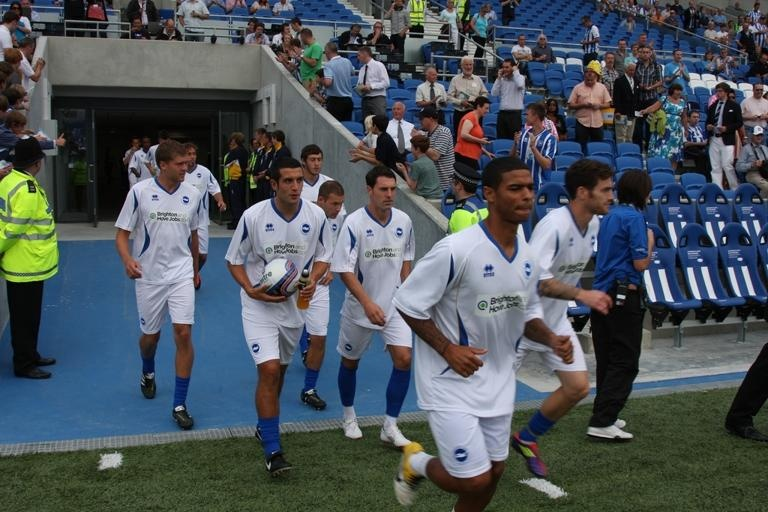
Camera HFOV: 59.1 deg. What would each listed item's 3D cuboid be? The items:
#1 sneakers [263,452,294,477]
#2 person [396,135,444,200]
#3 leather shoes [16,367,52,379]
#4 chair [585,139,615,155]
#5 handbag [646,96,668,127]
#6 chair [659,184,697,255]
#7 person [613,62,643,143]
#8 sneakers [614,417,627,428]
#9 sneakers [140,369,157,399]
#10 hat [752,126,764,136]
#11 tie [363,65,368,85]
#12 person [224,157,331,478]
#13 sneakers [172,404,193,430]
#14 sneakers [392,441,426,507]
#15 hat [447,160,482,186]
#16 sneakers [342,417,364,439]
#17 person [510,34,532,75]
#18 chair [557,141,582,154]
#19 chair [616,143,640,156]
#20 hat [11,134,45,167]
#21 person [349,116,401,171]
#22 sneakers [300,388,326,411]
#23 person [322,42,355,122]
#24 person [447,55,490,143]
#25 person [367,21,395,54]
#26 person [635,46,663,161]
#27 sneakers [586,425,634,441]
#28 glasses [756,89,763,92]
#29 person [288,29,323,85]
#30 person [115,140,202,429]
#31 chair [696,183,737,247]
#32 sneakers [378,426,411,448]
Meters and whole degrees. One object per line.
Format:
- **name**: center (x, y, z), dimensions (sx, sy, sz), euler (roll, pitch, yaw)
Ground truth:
- **sneakers**: center (-0.922, 1.812, 5.928), dimensions (0.129, 0.143, 0.358), euler (-1, -10, -21)
- **person**: center (0.587, -1.376, 10.834), dimensions (0.648, 0.996, 0.569), euler (-7, 15, -10)
- **leather shoes**: center (-4.090, 1.352, 7.884), dimensions (0.342, 0.145, 0.156), euler (1, 1, -4)
- **chair**: center (4.126, -2.007, 12.926), dimensions (0.339, 0.456, 0.374), euler (0, 2, -1)
- **handbag**: center (5.490, -2.835, 13.536), dimensions (0.343, 0.586, 0.345), euler (5, 12, 21)
- **chair**: center (4.610, -0.583, 10.374), dimensions (0.643, 0.967, 0.796), euler (-3, 11, -5)
- **person**: center (4.981, -3.095, 13.901), dimensions (0.556, 1.566, 0.344), euler (1, 11, 3)
- **sneakers**: center (2.407, 1.677, 6.851), dimensions (0.152, 0.062, 0.084), euler (-11, 25, -27)
- **sneakers**: center (-2.627, 1.411, 7.524), dimensions (0.121, 0.140, 0.350), euler (0, 32, -19)
- **hat**: center (7.066, -2.299, 12.695), dimensions (0.230, 0.175, 0.303), euler (4, 8, 14)
- **tie**: center (-0.353, -3.421, 12.948), dimensions (0.086, 0.334, 0.051), euler (0, 11, -5)
- **person**: center (-1.012, 0.484, 6.287), dimensions (0.884, 2.720, 1.270), euler (2, 11, 6)
- **sneakers**: center (-2.058, 1.616, 6.897), dimensions (0.210, 0.194, 0.258), euler (-2, 12, -15)
- **sneakers**: center (0.204, 1.615, 5.194), dimensions (0.181, 0.231, 0.518), euler (9, 39, -18)
- **hat**: center (0.809, -0.811, 6.706), dimensions (0.250, 0.100, 0.212), euler (28, 23, 31)
- **sneakers**: center (-0.318, 1.683, 6.712), dimensions (0.103, 0.110, 0.270), euler (0, 1, -24)
- **person**: center (3.675, -5.128, 17.844), dimensions (0.518, 1.213, 0.689), euler (1, 17, 2)
- **chair**: center (3.527, -2.013, 12.814), dimensions (0.280, 0.375, 0.304), euler (0, 3, -2)
- **chair**: center (4.808, -2.038, 13.271), dimensions (0.296, 0.367, 0.327), euler (0, 4, -5)
- **hat**: center (-4.141, -1.181, 7.852), dimensions (0.325, 0.368, 0.238), euler (-6, 13, -29)
- **person**: center (-0.145, -1.771, 10.648), dimensions (0.661, 0.809, 0.769), euler (-7, 14, -34)
- **sneakers**: center (-0.762, 1.541, 7.347), dimensions (0.131, 0.166, 0.354), euler (0, 6, -40)
- **person**: center (-0.944, -3.296, 13.816), dimensions (0.584, 1.950, 0.771), euler (23, 43, 25)
- **person**: center (1.629, -2.734, 13.032), dimensions (0.798, 1.975, 0.617), euler (-1, 12, -5)
- **person**: center (-0.101, -5.729, 17.280), dimensions (0.562, 0.955, 0.862), euler (18, 9, 5)
- **person**: center (5.605, -3.273, 14.574), dimensions (0.661, 2.367, 0.626), euler (-7, 12, -27)
- **sneakers**: center (2.227, 1.697, 6.660), dimensions (0.432, 0.185, 0.171), euler (0, -1, -2)
- **glasses**: center (7.997, -3.480, 14.366), dimensions (0.346, 0.066, 0.086), euler (-10, 16, -43)
- **person**: center (-1.643, -4.240, 14.790), dimensions (0.528, 1.261, 1.657), euler (-1, 12, -8)
- **person**: center (-2.297, 0.229, 7.149), dimensions (1.022, 2.799, 0.879), euler (8, 14, 35)
- **chair**: center (5.298, -0.644, 10.507), dimensions (0.671, 0.966, 0.825), euler (-2, 5, -10)
- **sneakers**: center (0.095, 1.712, 6.532), dimensions (0.133, 0.156, 0.336), euler (-4, 7, -41)
